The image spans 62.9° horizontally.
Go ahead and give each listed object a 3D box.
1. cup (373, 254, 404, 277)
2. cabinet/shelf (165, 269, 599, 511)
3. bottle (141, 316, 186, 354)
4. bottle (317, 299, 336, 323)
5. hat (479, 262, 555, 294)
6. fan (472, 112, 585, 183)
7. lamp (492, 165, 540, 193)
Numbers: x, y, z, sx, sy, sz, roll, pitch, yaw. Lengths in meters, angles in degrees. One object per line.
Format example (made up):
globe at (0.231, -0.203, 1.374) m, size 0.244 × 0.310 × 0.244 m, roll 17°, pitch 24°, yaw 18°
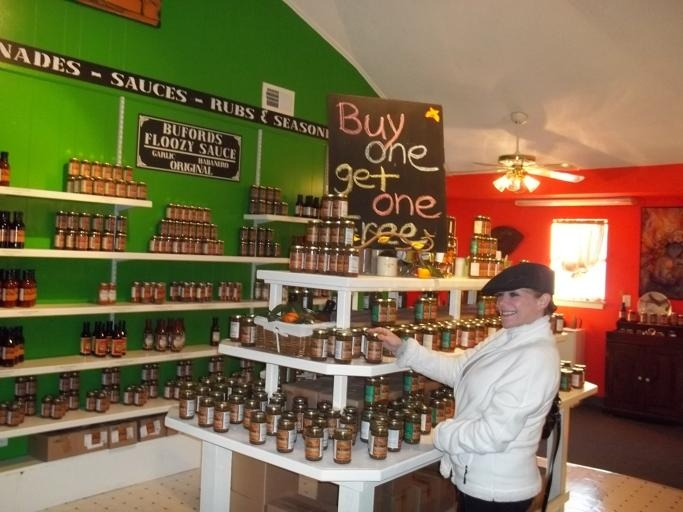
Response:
cup at (0.305, 0.059, 3.588) m, size 0.158 × 0.102 × 0.114 m, roll 1°, pitch 0°, yaw 17°
cabinet/shelf at (0.146, 0.862, 3.544) m, size 2.363 × 1.125 × 1.075 m, roll 1°, pitch 2°, yaw -41°
bottle at (-1.645, 0.669, 5.179) m, size 0.317 × 0.305 × 0.431 m, roll 0°, pitch -2°, yaw -27°
bottle at (-0.081, 0.363, 3.774) m, size 0.095 × 0.148 × 0.165 m, roll 2°, pitch 2°, yaw -29°
hat at (0.962, 0.115, 3.027) m, size 0.429 × 0.181 × 0.295 m, roll 3°, pitch 2°, yaw -2°
fan at (1.984, -1.182, 6.131) m, size 0.906 × 0.614 × 0.972 m, roll 0°, pitch 5°, yaw -21°
lamp at (2.045, -0.848, 6.272) m, size 0.445 × 0.201 × 0.448 m, roll -3°, pitch 5°, yaw -40°
